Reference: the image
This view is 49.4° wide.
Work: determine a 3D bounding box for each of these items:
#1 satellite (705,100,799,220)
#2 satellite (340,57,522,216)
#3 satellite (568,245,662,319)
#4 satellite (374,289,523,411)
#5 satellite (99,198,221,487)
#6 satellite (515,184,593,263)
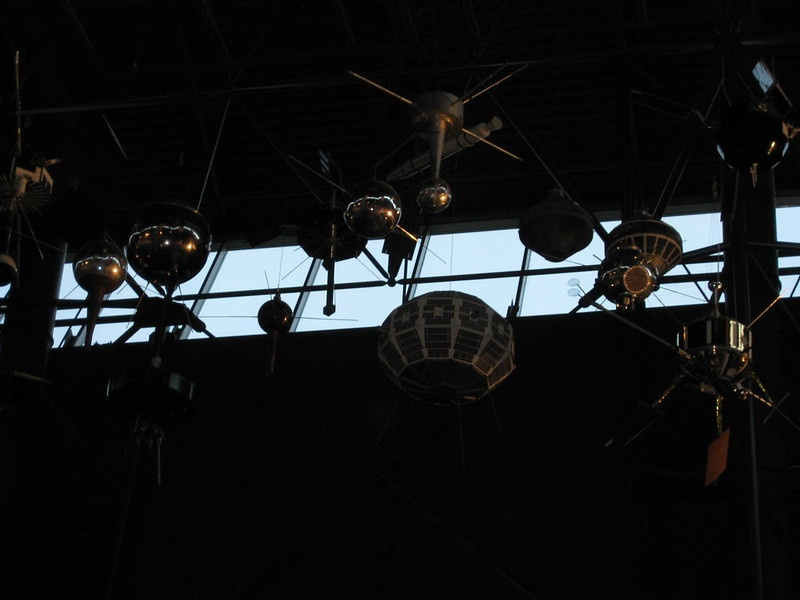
[{"bbox_3d":[2.731,-1.198,7.079,0.517,0.837,0.713,22,-48,0],"label":"satellite"},{"bbox_3d":[0.248,-1.312,7.701,1.081,0.981,1.077,-6,-1,7],"label":"satellite"},{"bbox_3d":[2.003,-0.126,8.253,0.446,0.377,0.777,17,-31,-25],"label":"satellite"},{"bbox_3d":[0.550,0.374,8.794,1.246,0.823,1.293,-13,-32,41],"label":"satellite"},{"bbox_3d":[-2.652,0.362,9.296,1.596,2.840,1.561,8,-5,-34],"label":"satellite"},{"bbox_3d":[1.689,-0.829,9.475,0.790,0.798,0.798,8,-8,-14],"label":"satellite"}]
